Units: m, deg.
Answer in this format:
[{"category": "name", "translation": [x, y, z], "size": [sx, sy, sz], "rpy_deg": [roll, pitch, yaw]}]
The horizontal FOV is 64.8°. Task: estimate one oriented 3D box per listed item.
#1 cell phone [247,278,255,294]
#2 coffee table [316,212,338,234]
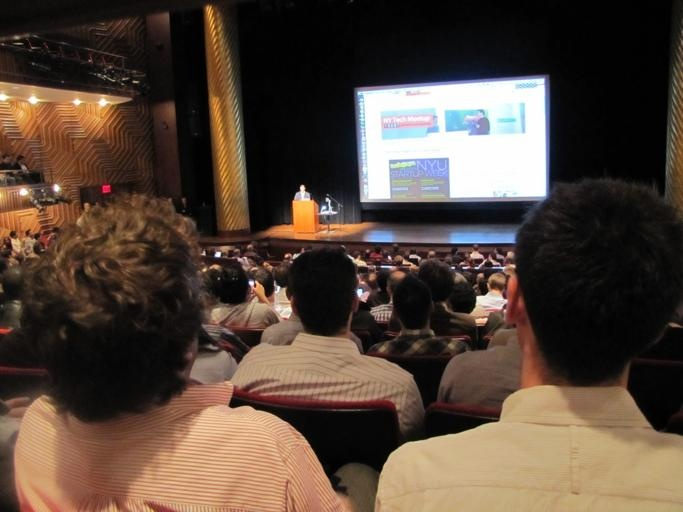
[{"category": "cell phone", "translation": [-0.795, 0.262, 4.689], "size": [0.081, 0.148, 0.045], "rpy_deg": [-1, -20, 6]}, {"category": "coffee table", "translation": [-0.387, -1.042, 14.109], "size": [0.572, 0.572, 0.587], "rpy_deg": [-1, 20, 3]}]
